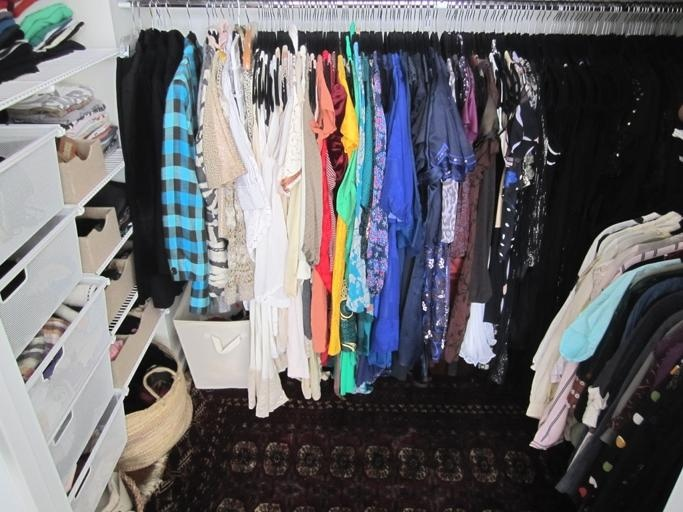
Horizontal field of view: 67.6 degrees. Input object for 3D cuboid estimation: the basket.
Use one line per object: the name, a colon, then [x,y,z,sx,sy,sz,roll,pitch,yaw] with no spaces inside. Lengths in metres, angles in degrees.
basket: [-0.781,0.683,2.247,0.264,0.263,0.401,1,57,11]
